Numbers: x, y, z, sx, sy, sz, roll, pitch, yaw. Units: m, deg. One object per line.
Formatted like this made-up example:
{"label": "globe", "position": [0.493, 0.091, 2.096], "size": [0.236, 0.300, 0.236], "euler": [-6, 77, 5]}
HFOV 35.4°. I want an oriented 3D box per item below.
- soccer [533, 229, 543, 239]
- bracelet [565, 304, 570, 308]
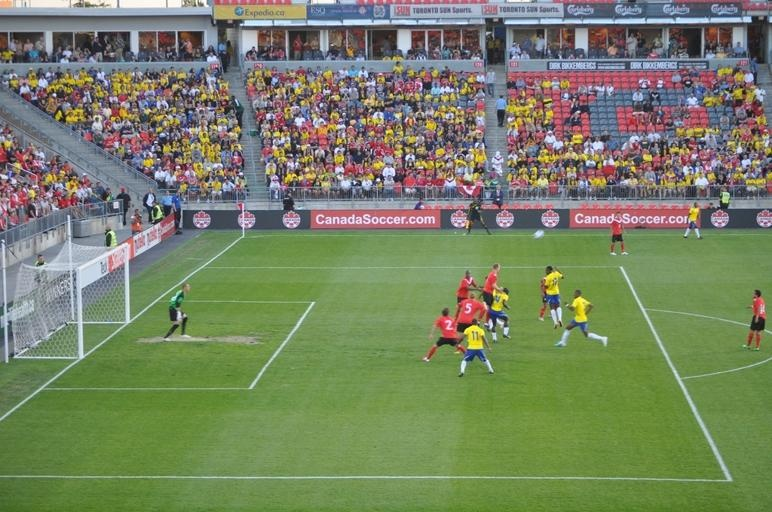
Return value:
{"label": "soccer", "position": [8.434, -1.147, 66.547], "size": [0.518, 0.171, 0.503], "euler": [-23, 30, -40]}
{"label": "bracelet", "position": [7.685, 2.100, 51.234], "size": [0.119, 0.101, 0.352], "euler": [-37, -3, 18]}
